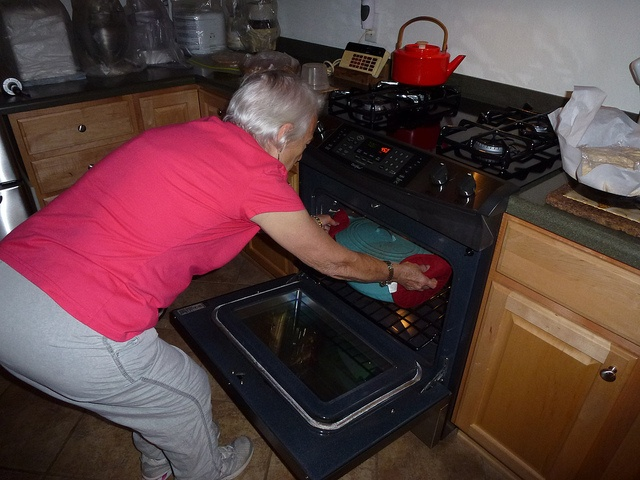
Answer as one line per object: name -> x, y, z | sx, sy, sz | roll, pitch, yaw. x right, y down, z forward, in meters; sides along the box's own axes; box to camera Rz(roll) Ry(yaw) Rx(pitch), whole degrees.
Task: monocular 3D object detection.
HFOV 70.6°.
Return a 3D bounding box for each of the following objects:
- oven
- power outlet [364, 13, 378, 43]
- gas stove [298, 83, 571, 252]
oven -> 0.049, 0.278, 1.477 | 0.599, 0.784, 0.818 | -17, 40, -34
power outlet -> 0.254, -1.069, 2.299 | 0.043, 0.138, 0.090 | -26, 43, -33
gas stove -> 0.404, -0.299, 1.670 | 0.692, 0.297, 0.768 | -26, 41, -32
